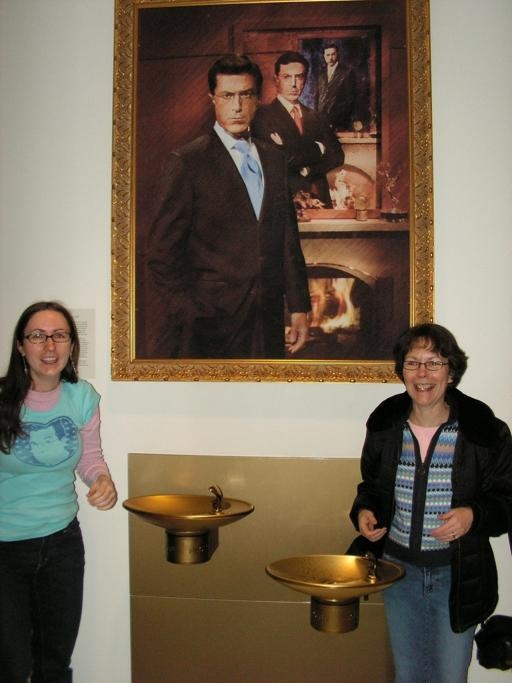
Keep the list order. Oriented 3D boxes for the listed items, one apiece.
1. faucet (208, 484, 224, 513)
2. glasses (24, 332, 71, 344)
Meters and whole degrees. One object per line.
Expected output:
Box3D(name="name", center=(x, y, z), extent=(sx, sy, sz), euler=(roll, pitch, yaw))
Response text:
Box3D(name="faucet", center=(-0.144, 0.558, 2.529), extent=(0.038, 0.044, 0.113), euler=(5, 5, -9))
Box3D(name="glasses", center=(-0.685, -0.016, 2.301), extent=(0.137, 0.045, 0.048), euler=(-4, 6, -30))
